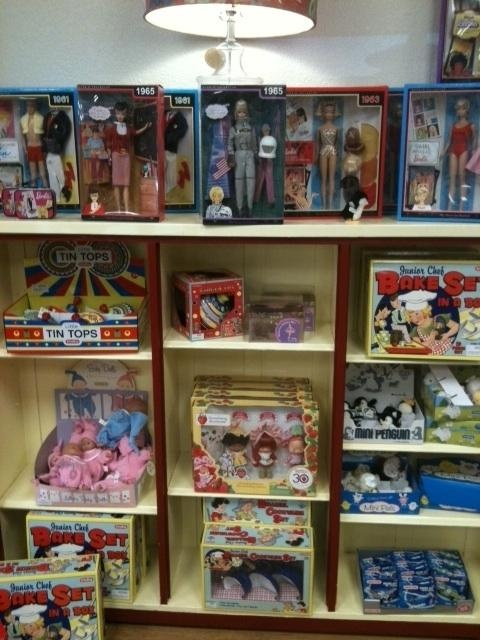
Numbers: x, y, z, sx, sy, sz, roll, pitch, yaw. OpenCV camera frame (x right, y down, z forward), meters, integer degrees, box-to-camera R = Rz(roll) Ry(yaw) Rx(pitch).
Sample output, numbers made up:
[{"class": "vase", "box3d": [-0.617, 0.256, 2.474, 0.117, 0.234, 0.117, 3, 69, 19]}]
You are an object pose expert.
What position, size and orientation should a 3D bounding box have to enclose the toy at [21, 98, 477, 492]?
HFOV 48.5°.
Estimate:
[{"class": "toy", "box3d": [0.049, -0.085, 1.482, 1.038, 1.036, 0.352, 1, 13, 1]}]
